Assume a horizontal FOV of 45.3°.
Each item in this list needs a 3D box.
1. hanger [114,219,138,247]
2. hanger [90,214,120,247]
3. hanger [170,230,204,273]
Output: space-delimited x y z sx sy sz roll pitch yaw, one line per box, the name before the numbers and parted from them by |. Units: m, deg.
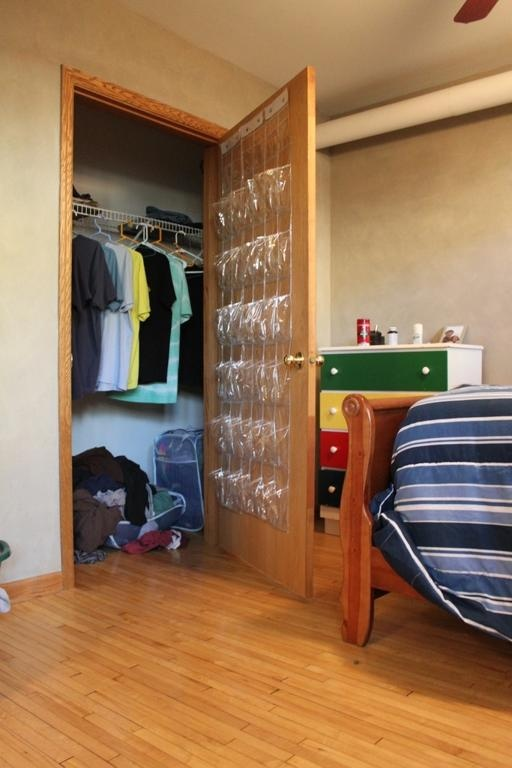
hanger | -0.754 -0.905 3.646 0.044 0.192 0.190 -2 -14 16
hanger | -0.861 -0.882 3.464 0.145 0.153 0.382 0 -1 -7
hanger | -0.425 -0.806 3.823 0.277 0.277 0.074 1 -4 -43
